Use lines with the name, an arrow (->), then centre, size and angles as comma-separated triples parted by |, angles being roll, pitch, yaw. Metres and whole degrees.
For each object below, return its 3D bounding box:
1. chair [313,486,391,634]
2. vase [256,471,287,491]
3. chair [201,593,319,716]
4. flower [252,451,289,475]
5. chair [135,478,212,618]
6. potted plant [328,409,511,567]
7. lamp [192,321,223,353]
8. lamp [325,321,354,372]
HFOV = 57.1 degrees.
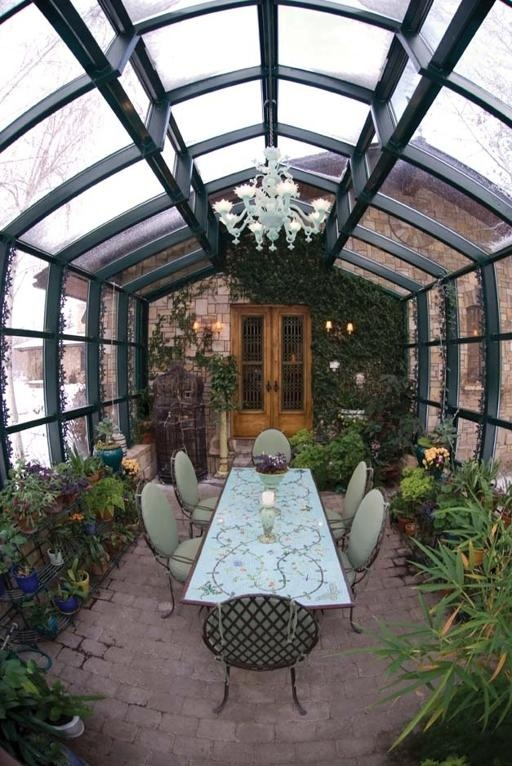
chair -> 0.518, 1.254, 3.422 | 0.648, 1.003, 0.571 | 3, 11, -6
vase -> 0.120, 0.740, 3.629 | 0.242, 0.158, 0.224 | 1, -4, -8
chair -> 0.029, 1.393, 2.692 | 0.618, 0.856, 0.613 | -1, 16, 2
flower -> 0.097, 0.623, 3.614 | 0.208, 0.113, 0.195 | 3, -9, -11
chair -> -0.477, 1.270, 3.525 | 0.697, 0.992, 0.628 | -4, 16, 1
potted plant -> 1.569, 0.991, 4.141 | 1.261, 1.465, 1.099 | -6, 6, -19
lamp -> -0.757, -0.725, 7.199 | 0.500, 0.493, 0.160 | 0, 1, -4
lamp -> 1.227, -0.540, 7.034 | 0.423, 0.775, 0.130 | 1, 9, 12
